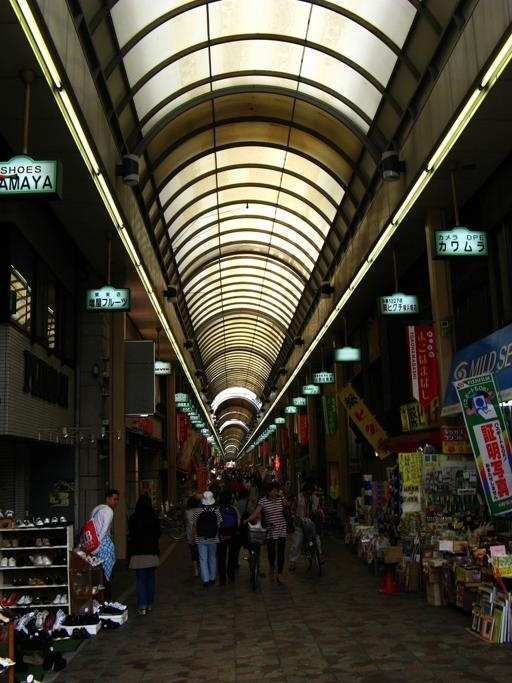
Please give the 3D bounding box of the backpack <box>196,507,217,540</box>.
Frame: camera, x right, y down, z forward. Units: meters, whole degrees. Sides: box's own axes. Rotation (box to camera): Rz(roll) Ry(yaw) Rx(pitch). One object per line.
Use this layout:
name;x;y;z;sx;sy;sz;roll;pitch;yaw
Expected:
backpack;-0.791;2.949;8.231;0.344;0.505;0.240;-1;-15;-10

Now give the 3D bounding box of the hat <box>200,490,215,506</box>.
hat;-0.806;2.635;8.516;0.208;0.235;0.673;-2;-18;-6

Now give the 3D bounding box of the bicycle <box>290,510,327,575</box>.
bicycle;0.982;3.915;9.834;0.536;0.892;1.282;0;-21;-7

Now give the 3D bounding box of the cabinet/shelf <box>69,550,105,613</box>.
cabinet/shelf;-1.891;2.663;5.615;0.144;0.603;0.556;-2;-11;0

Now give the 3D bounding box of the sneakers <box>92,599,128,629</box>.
sneakers;-1.617;3.001;5.572;0.306;0.124;0.264;2;-2;-5

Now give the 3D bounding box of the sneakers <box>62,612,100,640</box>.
sneakers;-1.766;2.893;5.158;0.199;0.089;0.219;-1;6;-1

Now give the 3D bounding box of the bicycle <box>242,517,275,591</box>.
bicycle;0.034;3.541;8.713;0.401;0.847;1.254;0;-8;3

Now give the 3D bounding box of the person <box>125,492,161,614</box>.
person;-1.397;2.634;6.356;0.379;1.415;0.631;1;-15;-14
